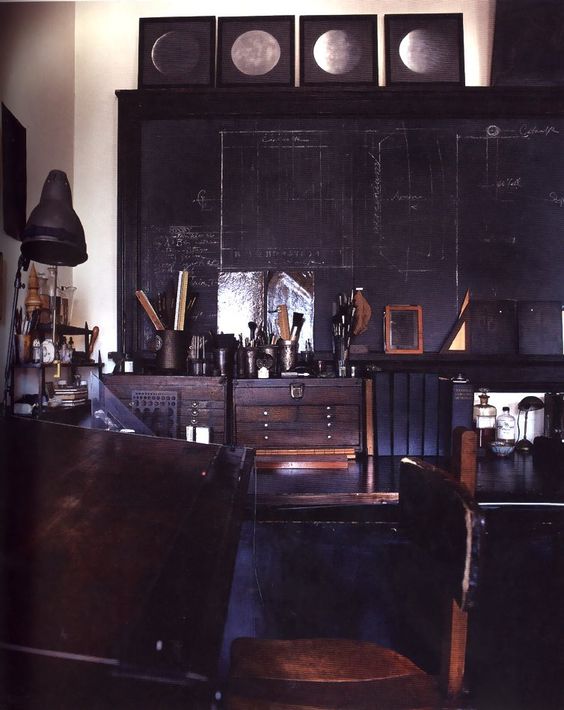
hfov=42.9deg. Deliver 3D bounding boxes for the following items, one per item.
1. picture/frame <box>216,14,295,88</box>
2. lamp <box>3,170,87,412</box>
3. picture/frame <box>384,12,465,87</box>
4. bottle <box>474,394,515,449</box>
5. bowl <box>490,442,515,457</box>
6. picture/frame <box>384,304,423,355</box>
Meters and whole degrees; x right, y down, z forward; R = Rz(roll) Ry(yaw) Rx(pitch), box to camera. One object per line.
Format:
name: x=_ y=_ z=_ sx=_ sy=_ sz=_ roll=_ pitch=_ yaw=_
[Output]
picture/frame: x=-0.112 y=-1.377 z=3.216 sx=0.235 sy=0.297 sz=0.021 roll=0 pitch=8 yaw=5
lamp: x=-0.887 y=-0.237 z=2.671 sx=0.269 sy=0.857 sz=0.395 roll=3 pitch=-1 yaw=-32
picture/frame: x=0.644 y=-1.387 z=3.230 sx=0.239 sy=0.303 sz=0.027 roll=0 pitch=-3 yaw=-1
bottle: x=0.881 y=0.282 z=2.984 sx=0.138 sy=0.267 sz=0.085 roll=2 pitch=-7 yaw=-21
bowl: x=0.855 y=0.367 z=2.796 sx=0.082 sy=0.052 sz=0.195 roll=2 pitch=-2 yaw=32
picture/frame: x=0.542 y=-0.111 z=3.214 sx=0.145 sy=0.287 sz=0.031 roll=-1 pitch=-1 yaw=-1
